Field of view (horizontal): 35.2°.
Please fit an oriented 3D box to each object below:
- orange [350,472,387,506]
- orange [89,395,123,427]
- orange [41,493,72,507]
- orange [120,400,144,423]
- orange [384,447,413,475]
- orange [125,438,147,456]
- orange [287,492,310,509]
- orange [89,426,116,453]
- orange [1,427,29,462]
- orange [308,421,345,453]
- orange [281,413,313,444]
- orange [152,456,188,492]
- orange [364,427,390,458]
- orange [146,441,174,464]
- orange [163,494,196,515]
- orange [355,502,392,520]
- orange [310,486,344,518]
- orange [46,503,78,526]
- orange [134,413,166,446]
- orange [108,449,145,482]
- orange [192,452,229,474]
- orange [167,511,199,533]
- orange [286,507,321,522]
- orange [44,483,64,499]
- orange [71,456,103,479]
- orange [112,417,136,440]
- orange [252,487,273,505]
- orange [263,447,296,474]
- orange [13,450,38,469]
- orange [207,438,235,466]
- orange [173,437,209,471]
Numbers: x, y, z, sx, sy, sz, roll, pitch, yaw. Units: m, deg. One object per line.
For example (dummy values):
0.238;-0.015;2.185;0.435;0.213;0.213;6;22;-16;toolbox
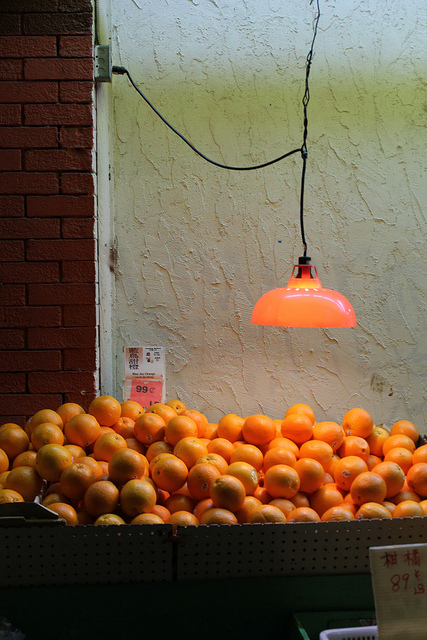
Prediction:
0.437;0.474;1.884;0.105;0.091;0.078;-1;-17;5;orange
-0.343;0.303;2.218;0.112;0.085;0.100;-8;-14;-5;orange
-0.425;0.483;1.809;0.046;0.040;0.054;-15;-12;30;orange
-0.286;0.322;2.353;0.082;0.061;0.064;25;-26;-18;orange
0.566;0.427;2.084;0.084;0.084;0.079;-5;16;8;orange
-0.246;0.398;2.118;0.057;0.050;0.062;4;34;-30;orange
0.242;0.515;1.926;0.049;0.048;0.045;-1;5;6;orange
-0.351;0.378;2.119;0.078;0.065;0.085;10;2;-19;orange
-0.596;0.374;2.007;0.108;0.103;0.093;3;-10;1;orange
0.370;0.367;2.165;0.107;0.091;0.122;4;17;29;orange
0.260;0.354;2.216;0.097;0.085;0.108;10;27;19;orange
-0.125;0.438;1.908;0.099;0.099;0.076;2;-17;-5;orange
0.544;0.403;2.257;0.099;0.094;0.093;4;12;10;orange
-0.167;0.398;2.078;0.068;0.070;0.064;13;21;-12;orange
-0.093;0.509;1.887;0.057;0.050;0.062;-7;32;30;orange
0.421;0.507;1.785;0.093;0.041;0.101;-3;-15;10;orange
0.319;0.524;1.927;0.088;0.086;0.078;-4;-12;-11;orange
-0.399;0.496;1.758;0.084;0.058;0.064;10;6;-16;orange
-0.202;0.351;2.128;0.070;0.061;0.077;22;-14;34;orange
-0.235;0.409;1.882;0.111;0.090;0.092;7;-18;-22;orange
-0.005;0.423;1.987;0.067;0.053;0.062;7;-7;-26;orange
-0.088;0.527;1.749;0.058;0.047;0.050;3;-20;2;orange
0.236;0.513;1.771;0.053;0.057;0.049;30;-17;2;orange
-0.448;0.474;1.881;0.044;0.044;0.041;6;5;15;orange
-0.349;0.409;1.919;0.057;0.065;0.056;39;13;9;orange
-0.292;0.356;2.199;0.073;0.059;0.065;-4;-10;-4;orange
0.138;0.503;1.922;0.050;0.049;0.045;-2;8;6;orange
0.183;0.410;2.025;0.077;0.084;0.073;25;-26;11;orange
-0.535;0.398;1.947;0.064;0.063;0.058;8;-5;7;orange
0.021;0.401;2.104;0.082;0.081;0.076;-10;14;-21;orange
-0.071;0.396;1.984;0.104;0.084;0.090;0;-7;-5;orange
